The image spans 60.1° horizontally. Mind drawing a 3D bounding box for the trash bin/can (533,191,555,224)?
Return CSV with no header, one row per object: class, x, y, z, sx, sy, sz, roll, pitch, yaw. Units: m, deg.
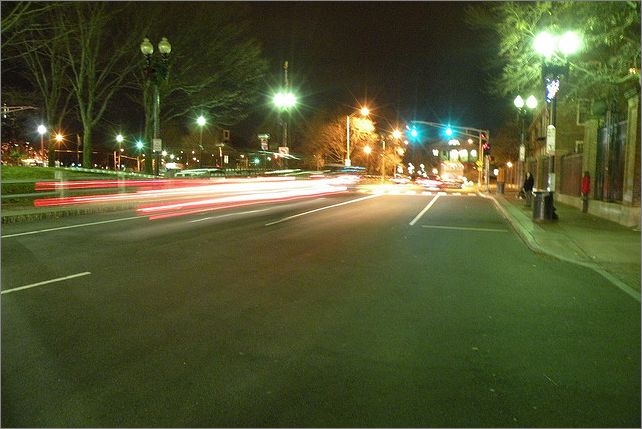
trash bin/can,8.525,-0.340,21.351,0.688,1.190,0.820,-2,8,6
